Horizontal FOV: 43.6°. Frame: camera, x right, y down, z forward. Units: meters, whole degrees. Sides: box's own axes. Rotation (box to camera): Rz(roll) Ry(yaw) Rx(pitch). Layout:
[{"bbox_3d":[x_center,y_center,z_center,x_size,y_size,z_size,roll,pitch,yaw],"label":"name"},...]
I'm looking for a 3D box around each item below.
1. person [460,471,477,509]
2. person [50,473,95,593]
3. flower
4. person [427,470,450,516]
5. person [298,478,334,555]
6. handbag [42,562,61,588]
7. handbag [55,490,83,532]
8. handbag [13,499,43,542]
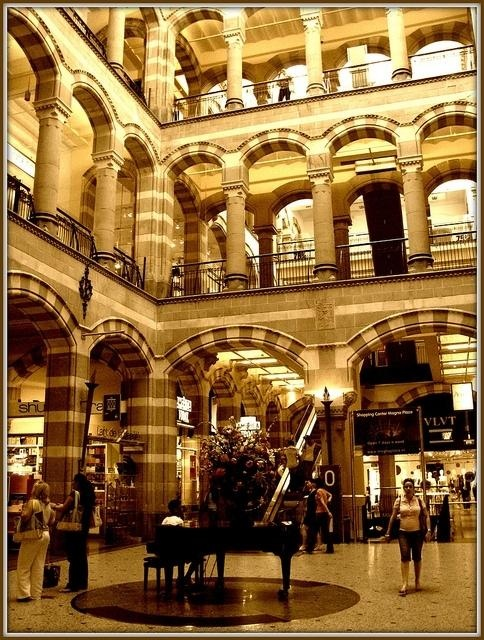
[{"bbox_3d":[7.296,5.525,19.592,0.473,1.125,1.990,-5,-15,19],"label":"person"},{"bbox_3d":[-1.947,2.449,7.044,0.445,1.288,0.532,3,-14,-13],"label":"person"},{"bbox_3d":[-0.014,1.940,7.161,0.930,1.160,0.968,-12,-10,36],"label":"flower"},{"bbox_3d":[5.269,4.721,16.467,0.841,1.239,0.826,0,1,22],"label":"person"},{"bbox_3d":[1.431,3.693,11.475,0.531,1.319,1.529,-1,-14,6],"label":"person"},{"bbox_3d":[-2.235,3.052,7.219,0.185,0.269,0.262,0,-7,5],"label":"handbag"},{"bbox_3d":[-1.975,2.180,7.133,0.184,0.491,0.320,-9,18,-6],"label":"handbag"},{"bbox_3d":[-2.196,2.106,6.282,0.292,0.384,0.244,5,-15,-22],"label":"handbag"}]
